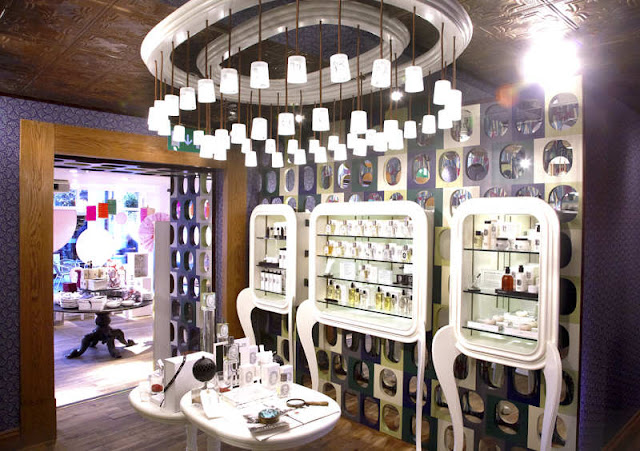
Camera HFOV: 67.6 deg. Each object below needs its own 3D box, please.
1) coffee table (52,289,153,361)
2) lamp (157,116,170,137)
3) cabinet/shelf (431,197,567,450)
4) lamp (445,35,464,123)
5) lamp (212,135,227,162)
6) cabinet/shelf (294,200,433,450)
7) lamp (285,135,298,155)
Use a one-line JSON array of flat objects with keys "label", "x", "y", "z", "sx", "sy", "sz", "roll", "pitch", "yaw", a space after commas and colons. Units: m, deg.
[{"label": "coffee table", "x": -3.775, "y": 1.786, "z": 8.317, "sx": 1.407, "sy": 0.844, "sz": 1.416, "roll": 0, "pitch": -1, "yaw": -28}, {"label": "lamp", "x": -1.390, "y": -0.893, "z": 4.329, "sx": 0.161, "sy": 0.197, "sz": 0.162, "roll": -8, "pitch": 13, "yaw": -35}, {"label": "cabinet/shelf", "x": 1.762, "y": 0.982, "z": 4.744, "sx": 1.148, "sy": 2.541, "sz": 0.642, "roll": 4, "pitch": 8, "yaw": 29}, {"label": "lamp", "x": 1.083, "y": -1.228, "z": 3.886, "sx": 0.121, "sy": 0.694, "sz": 0.125, "roll": -5, "pitch": 10, "yaw": -12}, {"label": "lamp", "x": -0.910, "y": -0.711, "z": 4.329, "sx": 0.123, "sy": 0.203, "sz": 0.147, "roll": -2, "pitch": 7, "yaw": -17}, {"label": "cabinet/shelf", "x": 0.530, "y": 0.791, "z": 5.654, "sx": 1.719, "sy": 2.209, "sz": 0.702, "roll": 5, "pitch": 8, "yaw": 35}, {"label": "lamp", "x": -0.302, "y": -0.838, "z": 5.087, "sx": 0.103, "sy": 0.140, "sz": 0.248, "roll": -1, "pitch": 7, "yaw": -7}]
